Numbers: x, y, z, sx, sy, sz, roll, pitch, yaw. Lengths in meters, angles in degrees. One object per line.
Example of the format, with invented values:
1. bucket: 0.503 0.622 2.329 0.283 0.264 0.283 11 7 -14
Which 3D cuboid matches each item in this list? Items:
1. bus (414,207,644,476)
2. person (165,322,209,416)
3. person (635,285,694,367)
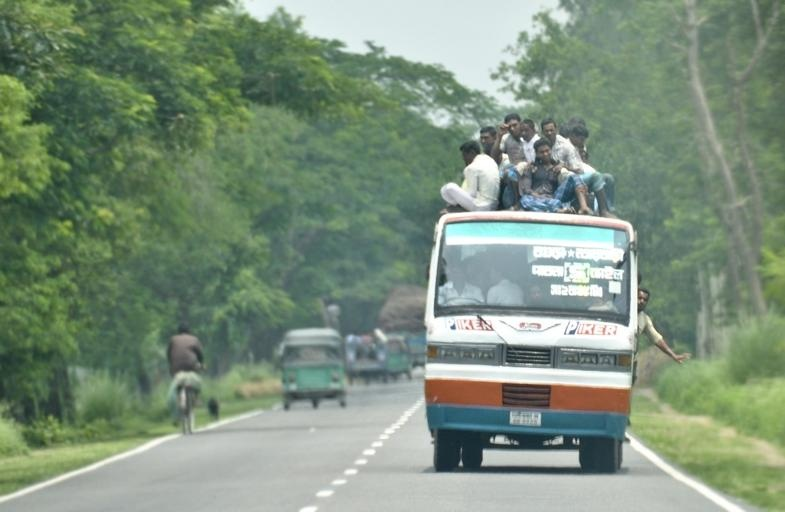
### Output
1. bus: 2.900 1.483 36.035 4.312 5.080 1.318 -2 -7 1
2. person: -5.424 2.866 44.222 0.916 2.149 1.065 -1 -7 -7
3. person: 9.399 2.297 58.842 0.739 2.944 1.272 -26 -21 -48
